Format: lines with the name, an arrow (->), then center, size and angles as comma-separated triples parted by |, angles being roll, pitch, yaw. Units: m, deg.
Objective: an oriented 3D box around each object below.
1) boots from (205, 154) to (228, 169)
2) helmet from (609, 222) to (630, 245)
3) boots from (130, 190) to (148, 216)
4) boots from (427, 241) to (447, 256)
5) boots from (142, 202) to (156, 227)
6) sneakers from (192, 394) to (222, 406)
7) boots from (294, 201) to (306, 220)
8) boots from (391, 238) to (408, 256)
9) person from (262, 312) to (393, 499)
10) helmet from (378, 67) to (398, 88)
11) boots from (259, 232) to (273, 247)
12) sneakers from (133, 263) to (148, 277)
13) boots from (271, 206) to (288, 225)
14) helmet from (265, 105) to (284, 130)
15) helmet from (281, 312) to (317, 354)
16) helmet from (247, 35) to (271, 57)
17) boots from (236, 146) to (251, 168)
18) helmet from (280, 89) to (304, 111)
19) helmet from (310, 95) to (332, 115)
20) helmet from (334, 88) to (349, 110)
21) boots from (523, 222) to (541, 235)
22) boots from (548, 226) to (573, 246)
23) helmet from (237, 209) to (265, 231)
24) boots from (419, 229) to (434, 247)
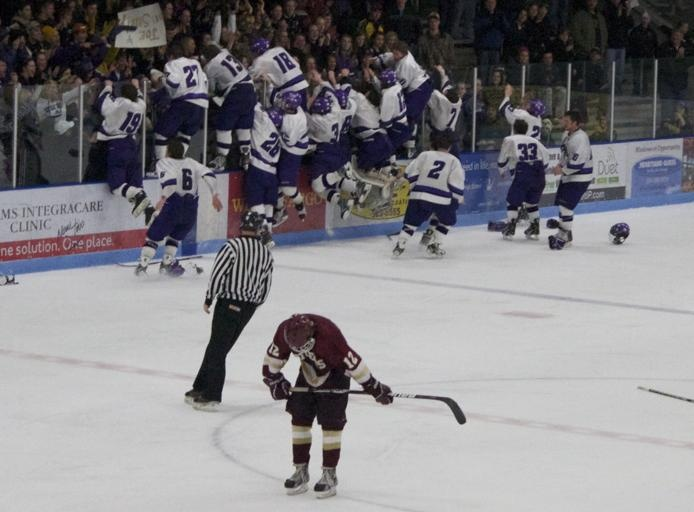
boots -> -1.824, -1.321, 14.196 | 0.273, 0.264, 0.129 | -6, 16, -29
helmet -> 4.297, -0.362, 15.860 | 0.263, 0.337, 0.355 | 10, 8, 39
boots -> -2.697, -0.701, 13.132 | 0.118, 0.258, 0.246 | 39, 2, -39
boots -> 1.317, -0.148, 14.777 | 0.284, 0.272, 0.144 | 3, 33, 12
boots -> -2.595, -0.522, 13.391 | 0.171, 0.395, 0.131 | 21, 55, 5
sneakers -> -1.186, 1.223, 8.499 | 0.196, 0.080, 0.111 | 8, 5, 6
boots -> -0.686, -0.664, 15.000 | 0.103, 0.303, 0.121 | -10, 19, 14
boots -> 0.751, -0.142, 14.684 | 0.183, 0.282, 0.390 | 2, 13, 0
person -> -0.152, 1.183, 7.636 | 1.081, 1.472, 0.765 | 8, 12, 36
helmet -> 0.621, -2.698, 15.310 | 0.276, 0.274, 0.220 | 19, 42, 22
boots -> -1.080, -0.226, 13.820 | 0.186, 0.227, 0.330 | -6, -14, -1
sneakers -> -2.615, 0.141, 12.801 | 0.109, 0.170, 0.171 | 16, 39, -32
boots -> -0.971, -0.592, 14.892 | 0.150, 0.312, 0.479 | 5, 14, 12
helmet -> -1.025, -1.961, 14.392 | 0.237, 0.277, 0.228 | 1, 14, -3
helmet -> -0.338, 0.528, 7.039 | 0.201, 0.250, 0.220 | 1, 12, 9
helmet -> -1.265, -3.024, 14.648 | 0.251, 0.288, 0.597 | 0, 13, -8
boots -> -1.456, -1.407, 14.303 | 0.108, 0.354, 0.218 | -7, 16, -31
helmet -> -0.756, -2.246, 14.426 | 0.287, 0.266, 0.231 | 35, 42, 23
helmet -> -0.373, -2.174, 14.586 | 0.226, 0.261, 0.316 | 24, 53, 15
helmet -> -0.080, -2.338, 14.932 | 0.212, 0.284, 0.316 | 1, 14, -1
boots -> 2.946, -0.439, 16.077 | 0.183, 0.245, 0.259 | -1, 6, -32
boots -> 3.251, -0.265, 15.446 | 0.369, 0.216, 0.204 | 2, -3, -43
helmet -> -0.791, -0.296, 8.352 | 0.158, 0.171, 0.257 | 0, 13, -7
boots -> 1.198, -0.308, 15.123 | 0.108, 0.214, 0.304 | 14, 49, 15
